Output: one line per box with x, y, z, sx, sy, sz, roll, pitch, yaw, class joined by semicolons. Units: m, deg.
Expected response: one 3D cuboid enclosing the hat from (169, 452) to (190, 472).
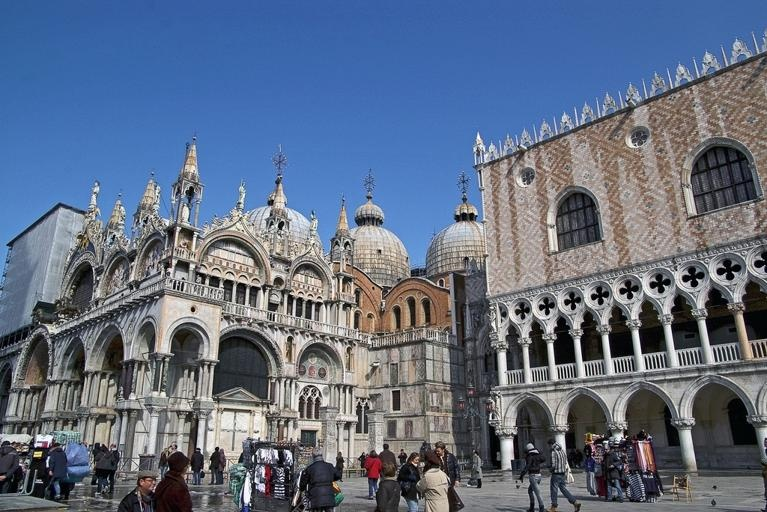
-5.374;5.386;15.621;0.483;0.548;0.460;7;-24;-18;hat

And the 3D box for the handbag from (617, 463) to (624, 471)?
9.555;8.592;24.278;0.227;0.300;0.079;2;-4;3;handbag

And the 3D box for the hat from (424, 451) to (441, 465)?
1.490;6.280;18.559;0.408;0.432;0.472;-2;-23;1;hat

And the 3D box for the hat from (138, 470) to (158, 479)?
-6.150;5.692;15.571;0.335;0.111;0.248;4;-13;-15;hat

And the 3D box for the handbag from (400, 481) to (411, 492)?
0.680;7.655;19.845;0.404;0.353;0.084;-22;-30;39;handbag

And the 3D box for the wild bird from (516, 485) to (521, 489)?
6.710;11.653;30.140;0.248;0.191;0.218;1;-24;0;wild bird
